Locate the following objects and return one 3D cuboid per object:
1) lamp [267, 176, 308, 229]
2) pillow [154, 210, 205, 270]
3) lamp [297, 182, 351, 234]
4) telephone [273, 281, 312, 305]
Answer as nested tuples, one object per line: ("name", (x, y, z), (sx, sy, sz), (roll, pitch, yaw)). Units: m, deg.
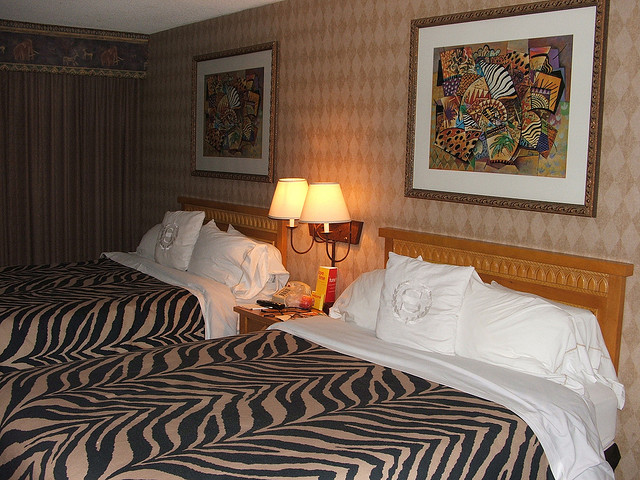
("lamp", (-0.271, -0.343, 4.271), (0.398, 0.418, 0.393), (2, 10, -43))
("pillow", (-1.392, 0.011, 4.827), (0.559, 0.597, 0.177), (6, -13, 39))
("lamp", (0.028, -0.279, 3.791), (0.332, 0.353, 0.357), (-2, 12, 0))
("telephone", (-0.255, 0.471, 4.053), (0.209, 0.187, 0.232), (6, -6, -23))
